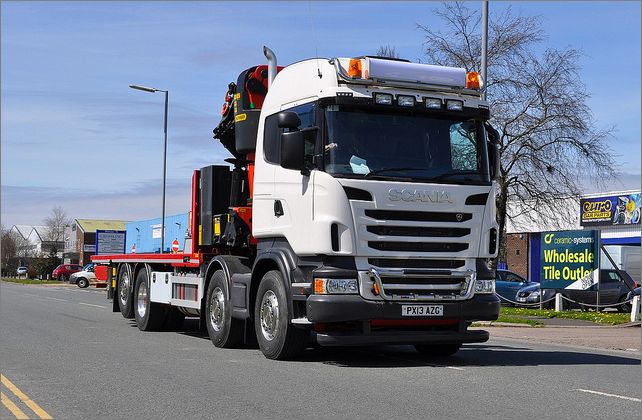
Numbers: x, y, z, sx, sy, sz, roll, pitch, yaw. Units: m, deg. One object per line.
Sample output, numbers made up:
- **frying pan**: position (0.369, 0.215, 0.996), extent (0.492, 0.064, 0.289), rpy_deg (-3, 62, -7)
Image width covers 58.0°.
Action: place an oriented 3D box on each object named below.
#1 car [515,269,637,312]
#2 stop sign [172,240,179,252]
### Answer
- **car**: position (12.630, 4.127, 27.707), extent (7.044, 2.183, 3.004), rpy_deg (-1, 0, -26)
- **stop sign**: position (-4.155, 1.043, 16.566), extent (0.261, 0.295, 0.011), rpy_deg (-1, 6, -44)
